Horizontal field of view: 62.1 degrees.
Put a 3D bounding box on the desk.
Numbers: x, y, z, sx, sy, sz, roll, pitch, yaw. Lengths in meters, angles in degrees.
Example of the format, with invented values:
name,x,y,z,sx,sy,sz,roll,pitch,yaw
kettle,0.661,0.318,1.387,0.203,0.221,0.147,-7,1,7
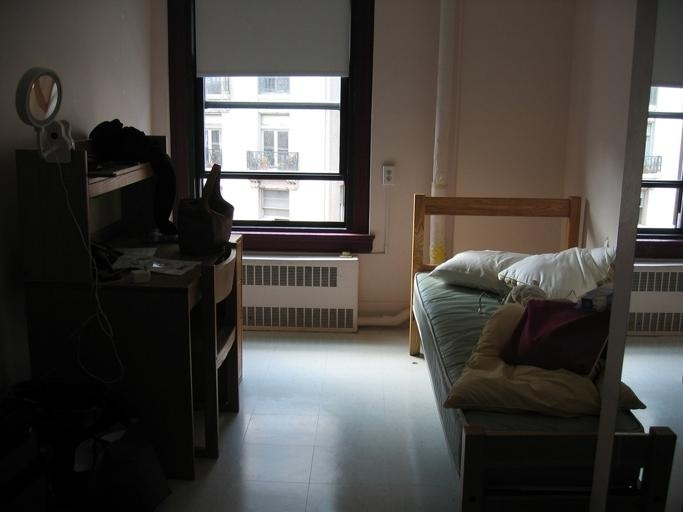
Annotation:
name,x,y,z,sx,sy,sz,roll,pitch,yaw
desk,-0.948,0.272,2.509,0.639,1.326,1.316,-1,13,-5

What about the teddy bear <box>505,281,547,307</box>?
name,x,y,z,sx,sy,sz,roll,pitch,yaw
teddy bear,0.932,0.194,2.861,0.144,0.051,0.132,-26,36,-31

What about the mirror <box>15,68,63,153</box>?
name,x,y,z,sx,sy,sz,roll,pitch,yaw
mirror,-1.267,-0.644,2.382,0.167,0.283,0.346,-6,16,-26
